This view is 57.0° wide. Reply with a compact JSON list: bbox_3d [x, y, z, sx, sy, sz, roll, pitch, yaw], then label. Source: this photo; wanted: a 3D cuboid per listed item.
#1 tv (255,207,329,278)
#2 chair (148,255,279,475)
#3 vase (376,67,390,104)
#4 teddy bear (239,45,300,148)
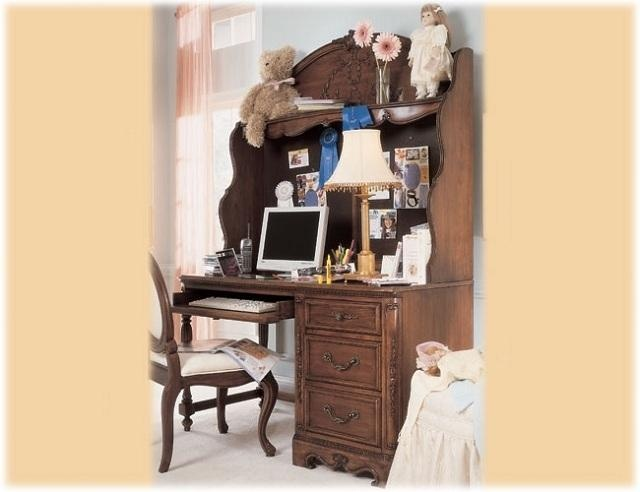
[{"bbox_3d":[-0.144,-0.028,2.979,0.375,0.342,0.080,1,-9,32],"label":"tv"},{"bbox_3d":[-0.526,0.446,2.547,0.538,0.880,0.513,2,-4,-29],"label":"chair"},{"bbox_3d":[0.291,-0.737,2.734,0.065,0.177,0.072,9,14,41],"label":"vase"},{"bbox_3d":[-0.285,-0.799,3.156,0.347,0.548,0.275,1,4,14],"label":"teddy bear"}]
